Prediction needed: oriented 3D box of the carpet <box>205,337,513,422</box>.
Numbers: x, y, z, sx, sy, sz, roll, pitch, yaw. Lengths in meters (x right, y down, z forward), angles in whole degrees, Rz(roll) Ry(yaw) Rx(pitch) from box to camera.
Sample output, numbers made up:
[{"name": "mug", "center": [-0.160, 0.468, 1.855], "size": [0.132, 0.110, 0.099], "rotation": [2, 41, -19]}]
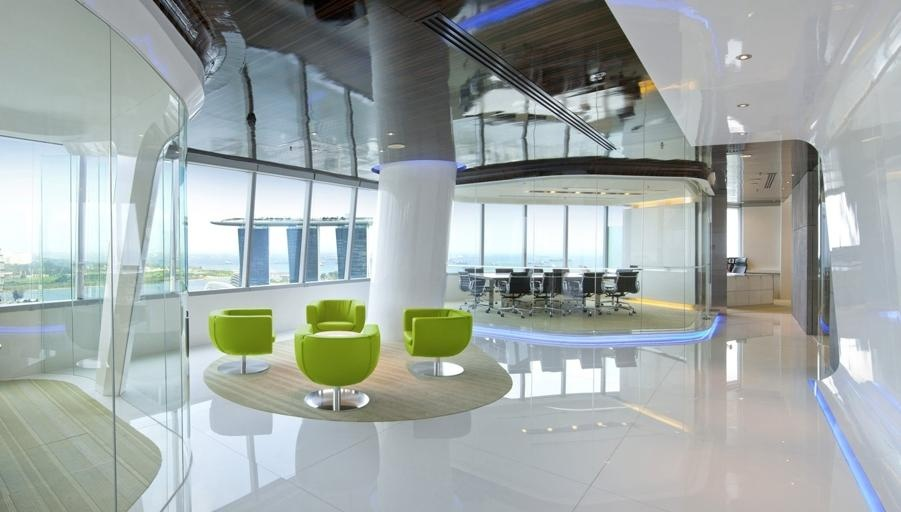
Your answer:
[{"name": "carpet", "center": [-1.423, 2.125, 8.508], "size": [4.898, 0.155, 2.784], "rotation": [1, 5, 7]}]
